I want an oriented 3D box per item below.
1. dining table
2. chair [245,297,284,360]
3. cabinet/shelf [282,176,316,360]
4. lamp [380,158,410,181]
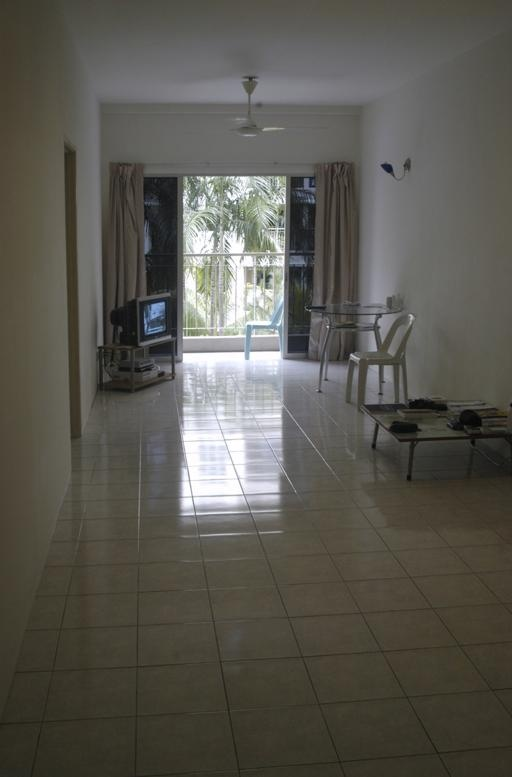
[{"bbox_3d":[1.143,-0.581,6.329,0.838,1.092,1.049,-1,5,1],"label":"dining table"},{"bbox_3d":[0.150,-0.915,8.230,0.671,1.271,0.591,2,8,-3],"label":"chair"},{"bbox_3d":[0.571,-1.622,7.539,0.383,2.390,0.272,1,5,-2],"label":"cabinet/shelf"},{"bbox_3d":[1.476,-2.276,5.822,0.153,0.119,0.311,5,8,5],"label":"lamp"}]
